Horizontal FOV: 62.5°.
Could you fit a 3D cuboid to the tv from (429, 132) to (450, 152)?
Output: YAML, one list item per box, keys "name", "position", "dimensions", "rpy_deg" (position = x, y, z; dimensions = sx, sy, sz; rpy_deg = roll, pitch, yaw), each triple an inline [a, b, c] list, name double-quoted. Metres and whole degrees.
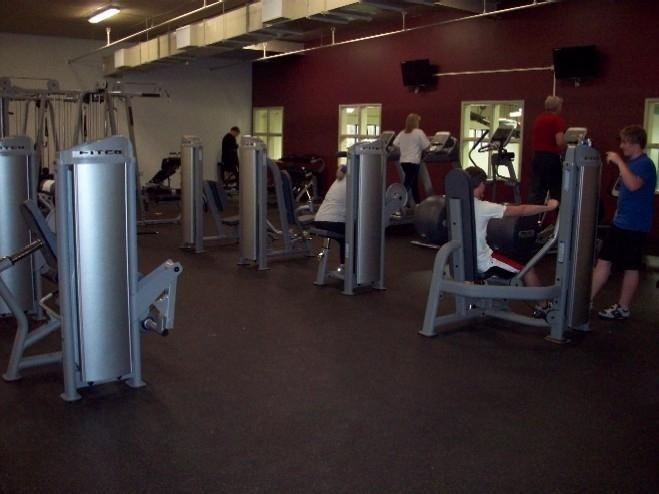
- name: "tv"
  position: [1.598, -1.537, 7.903]
  dimensions: [0.255, 0.259, 0.383]
  rpy_deg: [7, 15, 26]

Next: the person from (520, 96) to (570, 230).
- name: "person"
  position: [3.075, -1.199, 7.523]
  dimensions: [0.523, 1.736, 0.567]
  rpy_deg: [7, 21, 31]

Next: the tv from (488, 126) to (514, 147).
- name: "tv"
  position: [2.328, -1.501, 7.345]
  dimensions: [0.115, 0.335, 0.229]
  rpy_deg: [9, 16, -47]

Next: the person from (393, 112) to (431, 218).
- name: "person"
  position: [1.303, -1.392, 8.595]
  dimensions: [0.541, 1.456, 0.469]
  rpy_deg: [7, 33, 19]

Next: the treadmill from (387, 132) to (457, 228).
- name: "treadmill"
  position: [1.397, -1.311, 8.552]
  dimensions: [0.974, 1.527, 0.840]
  rpy_deg: [-1, 6, -21]

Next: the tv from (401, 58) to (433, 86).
- name: "tv"
  position: [1.562, -3.095, 9.576]
  dimensions: [0.473, 0.371, 0.067]
  rpy_deg: [8, 18, 40]

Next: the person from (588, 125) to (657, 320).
- name: "person"
  position: [2.446, -0.188, 4.490]
  dimensions: [0.465, 1.585, 0.369]
  rpy_deg: [3, 13, 13]

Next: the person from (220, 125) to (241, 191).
- name: "person"
  position: [-2.166, -1.980, 11.842]
  dimensions: [0.369, 1.226, 2.044]
  rpy_deg: [-2, 14, -10]

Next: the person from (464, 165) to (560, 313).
- name: "person"
  position: [1.441, -0.014, 4.392]
  dimensions: [0.705, 1.195, 0.854]
  rpy_deg: [3, 14, 14]
